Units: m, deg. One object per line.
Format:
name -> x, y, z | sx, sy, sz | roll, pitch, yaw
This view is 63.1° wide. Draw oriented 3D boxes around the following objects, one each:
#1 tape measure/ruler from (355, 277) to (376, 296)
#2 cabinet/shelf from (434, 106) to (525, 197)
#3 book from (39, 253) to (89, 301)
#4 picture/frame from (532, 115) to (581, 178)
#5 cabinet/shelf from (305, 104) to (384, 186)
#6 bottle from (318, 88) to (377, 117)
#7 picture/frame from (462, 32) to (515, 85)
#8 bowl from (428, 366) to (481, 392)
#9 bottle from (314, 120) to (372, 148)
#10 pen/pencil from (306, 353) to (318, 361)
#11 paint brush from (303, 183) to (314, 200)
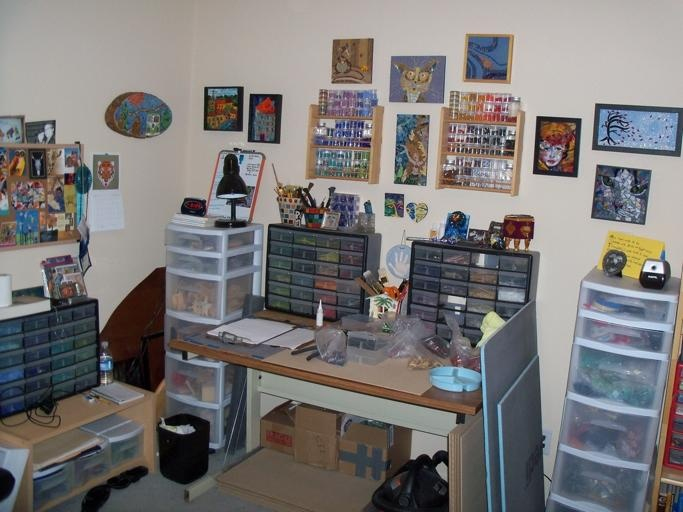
tape measure/ruler -> 0.165, 0.206, 3.677 | 0.167, 0.038, 0.030 | 39, 43, -11
cabinet/shelf -> 0.907, -0.673, 3.545 | 0.518, 0.569, 0.177 | 4, 5, 24
book -> -1.796, 0.140, 3.562 | 0.032, 0.298, 0.250 | -21, -4, 41
picture/frame -> 1.358, -0.683, 3.462 | 0.329, 0.485, 0.026 | 7, 15, 25
cabinet/shelf -> 0.041, -0.788, 3.901 | 0.496, 0.543, 0.172 | 5, 7, 20
bottle -> 0.048, -1.067, 3.897 | 0.409, 0.198, 0.153 | 8, 13, 26
picture/frame -> 0.959, -1.265, 3.550 | 0.309, 0.314, 0.024 | 5, 7, 23
bowl -> 0.617, 0.671, 3.004 | 0.271, 0.068, 0.222 | 5, 13, 13
bottle -> 0.013, -0.855, 3.896 | 0.421, 0.192, 0.120 | 10, 14, 32
pen/pencil -> -0.166, 0.585, 3.201 | 0.023, 0.022, 0.083 | 18, 18, 20
paint brush -> -0.224, -0.477, 4.014 | 0.032, 0.109, 0.106 | 12, 28, 22
